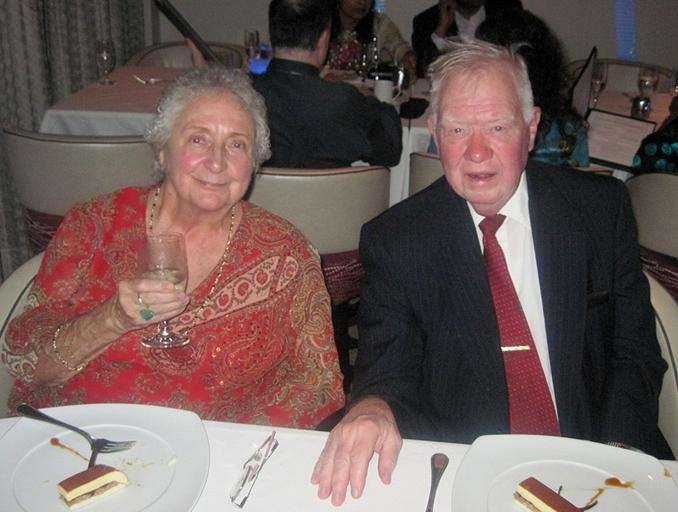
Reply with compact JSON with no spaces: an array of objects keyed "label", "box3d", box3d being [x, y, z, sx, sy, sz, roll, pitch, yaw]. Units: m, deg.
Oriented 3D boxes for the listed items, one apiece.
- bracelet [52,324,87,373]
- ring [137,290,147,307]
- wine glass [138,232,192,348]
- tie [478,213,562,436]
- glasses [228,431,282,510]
[{"label":"bracelet","box3d":[-0.719,0.251,1.550,0.077,0.122,0.061,21,32,38]},{"label":"ring","box3d":[-0.475,0.105,1.413,0.025,0.031,0.012,-1,6,-4]},{"label":"wine glass","box3d":[-0.456,0.117,1.531,0.140,0.320,0.221,-7,25,-16]},{"label":"tie","box3d":[0.462,0.179,1.575,0.135,0.579,0.030,-10,-10,24]},{"label":"glasses","box3d":[-0.176,0.441,1.213,0.047,0.051,0.142,28,59,18]}]
